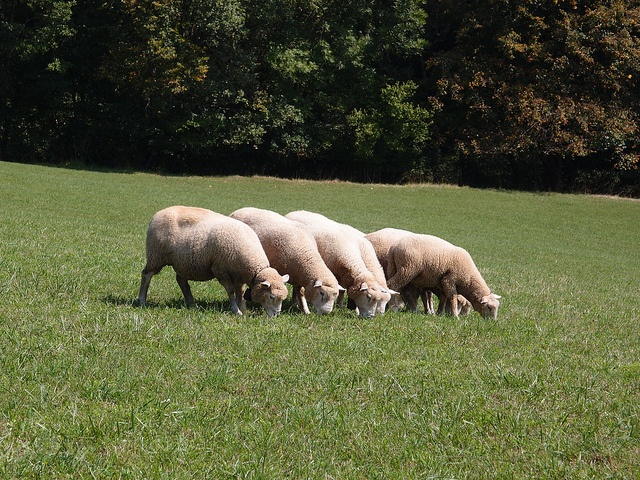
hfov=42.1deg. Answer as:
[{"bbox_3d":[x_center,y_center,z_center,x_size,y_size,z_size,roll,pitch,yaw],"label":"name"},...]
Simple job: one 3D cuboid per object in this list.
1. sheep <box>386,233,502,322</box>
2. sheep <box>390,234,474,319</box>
[{"bbox_3d":[3.287,0.985,22.859,2.948,1.961,1.052,10,7,5],"label":"sheep"},{"bbox_3d":[3.057,0.981,23.625,2.647,2.460,1.122,7,7,-27],"label":"sheep"}]
